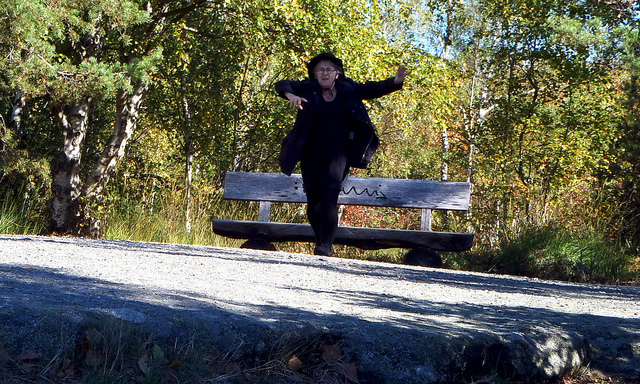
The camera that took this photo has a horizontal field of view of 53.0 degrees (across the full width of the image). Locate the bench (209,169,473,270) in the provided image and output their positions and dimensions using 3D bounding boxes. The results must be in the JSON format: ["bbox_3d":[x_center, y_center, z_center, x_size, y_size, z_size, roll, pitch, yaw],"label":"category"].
[{"bbox_3d":[0.374,0.535,10.333,3.906,1.457,1.427,2,12,6],"label":"bench"}]
